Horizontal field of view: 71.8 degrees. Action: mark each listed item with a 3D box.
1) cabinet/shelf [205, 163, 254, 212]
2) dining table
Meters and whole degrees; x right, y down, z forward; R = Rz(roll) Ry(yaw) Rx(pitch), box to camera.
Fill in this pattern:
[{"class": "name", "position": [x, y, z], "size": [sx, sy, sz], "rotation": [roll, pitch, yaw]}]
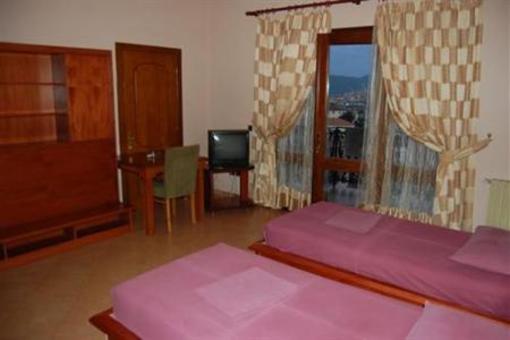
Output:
[{"class": "cabinet/shelf", "position": [-0.508, 0.361, 6.166], "size": [0.862, 0.772, 0.709], "rotation": [-1, 9, -15]}, {"class": "dining table", "position": [-1.575, 0.232, 5.607], "size": [1.260, 1.242, 1.263], "rotation": [5, 7, 44]}]
